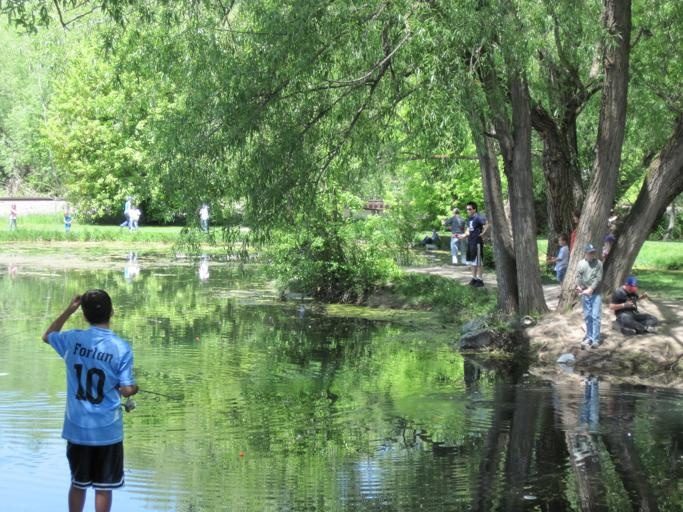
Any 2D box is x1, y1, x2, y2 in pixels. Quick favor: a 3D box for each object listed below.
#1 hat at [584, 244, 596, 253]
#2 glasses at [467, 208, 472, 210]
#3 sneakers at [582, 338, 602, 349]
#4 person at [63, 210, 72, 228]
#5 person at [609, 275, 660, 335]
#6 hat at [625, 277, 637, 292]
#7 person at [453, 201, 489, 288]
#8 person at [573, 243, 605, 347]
[{"bbox_3d":[4.880,-0.136,17.785,0.180,0.160,0.289,-1,-5,17],"label":"hat"},{"bbox_3d":[3.314,-1.190,23.412,0.068,0.054,0.061,10,-1,-26],"label":"glasses"},{"bbox_3d":[4.883,1.720,17.758,0.263,0.195,0.167,-12,0,35],"label":"sneakers"},{"bbox_3d":[-14.363,-1.879,47.312,0.262,1.265,2.214,1,-5,-14],"label":"person"},{"bbox_3d":[5.614,1.030,17.964,1.047,1.466,0.983,-8,8,-44],"label":"person"},{"bbox_3d":[5.728,0.547,17.902,0.196,0.315,0.378,0,-4,15],"label":"hat"},{"bbox_3d":[3.512,-0.321,23.670,0.491,2.239,1.387,0,-4,8],"label":"person"},{"bbox_3d":[4.872,0.835,17.807,0.449,1.913,0.445,0,-4,15],"label":"person"}]
